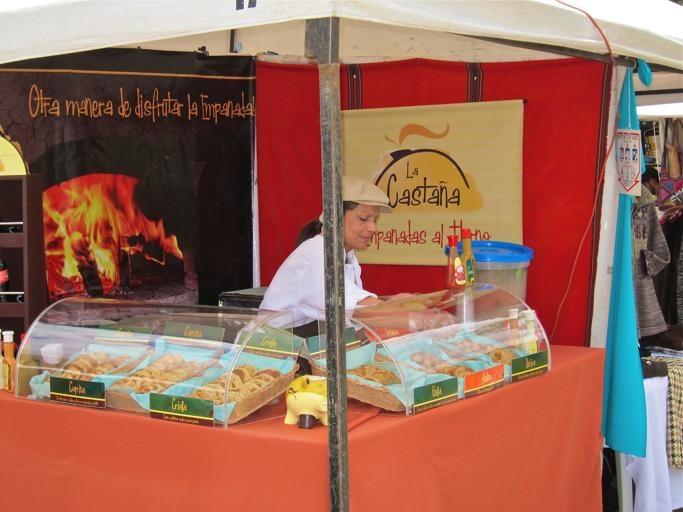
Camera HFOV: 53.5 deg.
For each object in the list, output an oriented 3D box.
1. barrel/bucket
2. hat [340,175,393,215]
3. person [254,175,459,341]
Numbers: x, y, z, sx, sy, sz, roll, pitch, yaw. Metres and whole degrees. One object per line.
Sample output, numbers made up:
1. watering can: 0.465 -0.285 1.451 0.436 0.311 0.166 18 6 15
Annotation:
1. barrel/bucket: 0.892 0.072 3.947 0.377 0.399 0.430 1 0 -4
2. hat: 0.057 -0.346 3.827 0.344 0.149 0.259 4 0 -4
3. person: 0.041 0.008 3.448 0.954 0.796 0.656 0 8 6
